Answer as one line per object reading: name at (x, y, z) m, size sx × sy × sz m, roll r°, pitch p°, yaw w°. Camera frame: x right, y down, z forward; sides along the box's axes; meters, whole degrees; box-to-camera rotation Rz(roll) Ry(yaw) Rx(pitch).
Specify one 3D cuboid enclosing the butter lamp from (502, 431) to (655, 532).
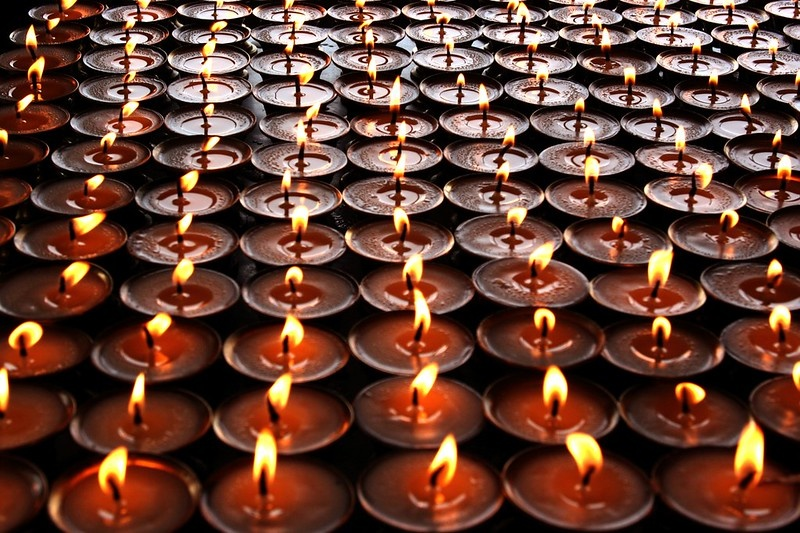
butter lamp at (0.693, 0.889, 3.756) m, size 0.710 × 0.160 × 0.456 m, roll -8°, pitch 28°, yaw -17°
